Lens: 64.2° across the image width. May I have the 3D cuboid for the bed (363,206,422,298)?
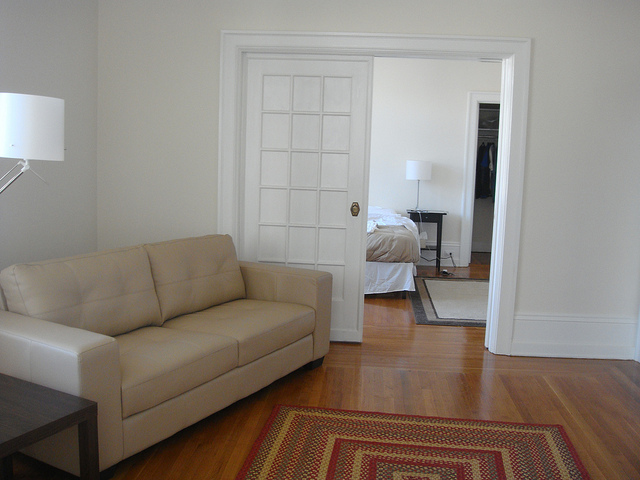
[{"bbox_3d":[0.898,0.166,6.255,0.639,0.787,1.414,2,11,7],"label":"bed"}]

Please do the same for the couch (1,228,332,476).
[{"bbox_3d":[-0.906,0.556,3.197,0.944,0.961,1.836,8,13,33],"label":"couch"}]

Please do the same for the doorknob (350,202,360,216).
[{"bbox_3d":[0.295,-0.257,4.220,0.083,0.158,0.083,1,-4,-2],"label":"doorknob"}]
